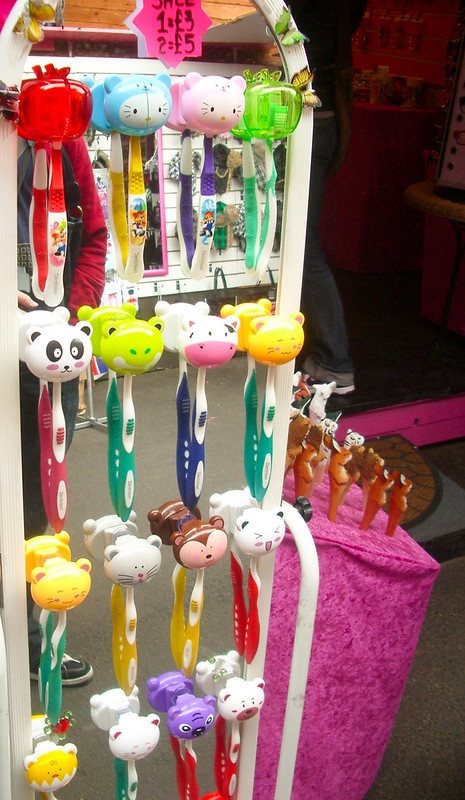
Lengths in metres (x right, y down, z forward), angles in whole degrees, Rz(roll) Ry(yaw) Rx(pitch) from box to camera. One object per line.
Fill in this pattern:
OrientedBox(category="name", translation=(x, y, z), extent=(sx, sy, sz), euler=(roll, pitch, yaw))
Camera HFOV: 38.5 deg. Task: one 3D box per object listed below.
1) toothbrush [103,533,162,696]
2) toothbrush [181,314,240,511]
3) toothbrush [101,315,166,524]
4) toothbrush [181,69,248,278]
OrientedBox(category="toothbrush", translation=(-0.133, 0.267, 0.886), extent=(0.069, 0.257, 0.152), euler=(1, 22, -7))
OrientedBox(category="toothbrush", translation=(-0.034, 0.014, 0.878), extent=(0.066, 0.280, 0.142), euler=(4, 22, 0))
OrientedBox(category="toothbrush", translation=(-0.116, 0.022, 0.802), extent=(0.068, 0.268, 0.142), euler=(5, 22, 3))
OrientedBox(category="toothbrush", translation=(-0.026, -0.266, 0.813), extent=(0.069, 0.236, 0.137), euler=(6, 22, 4))
